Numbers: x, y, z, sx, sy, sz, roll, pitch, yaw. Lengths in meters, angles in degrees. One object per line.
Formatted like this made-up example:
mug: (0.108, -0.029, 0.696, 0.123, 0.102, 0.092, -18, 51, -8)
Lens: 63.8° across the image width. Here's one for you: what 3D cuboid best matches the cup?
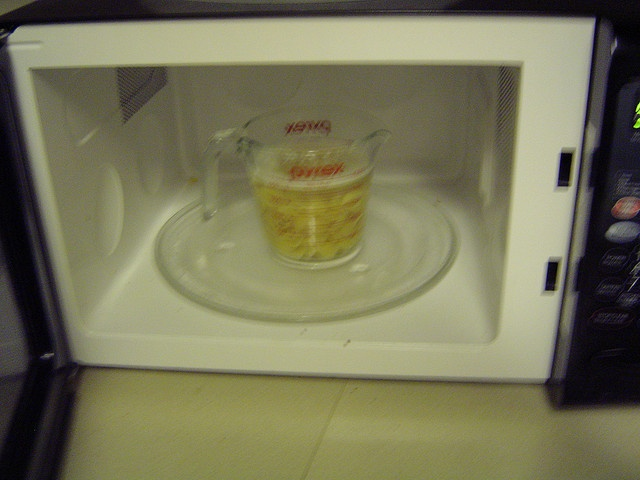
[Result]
cup: (-0.023, -0.055, 0.653, 0.240, 0.127, 0.167, 6, 18, 16)
